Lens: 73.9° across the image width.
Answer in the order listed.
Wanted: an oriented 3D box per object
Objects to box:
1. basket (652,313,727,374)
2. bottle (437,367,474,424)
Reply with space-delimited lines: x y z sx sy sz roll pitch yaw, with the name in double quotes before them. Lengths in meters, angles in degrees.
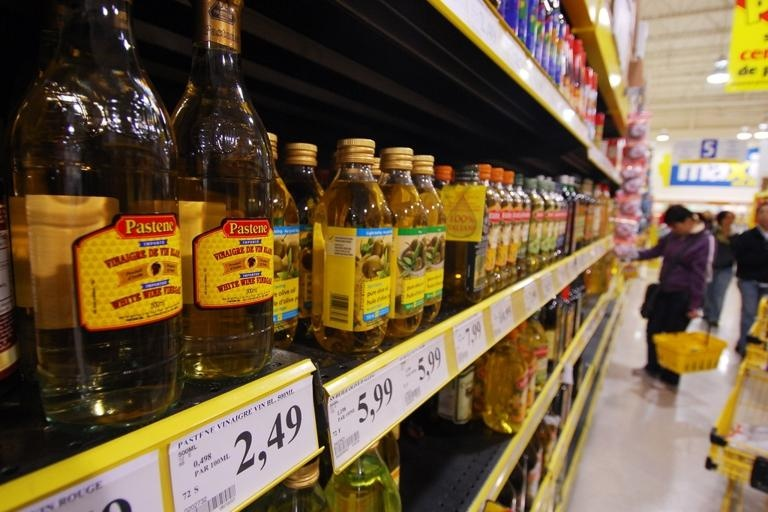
"basket" 2.261 0.738 3.829 0.433 0.169 0.297 -2 7 -22
"bottle" 0.248 0.484 1.792 0.124 0.166 0.116 2 1 0
